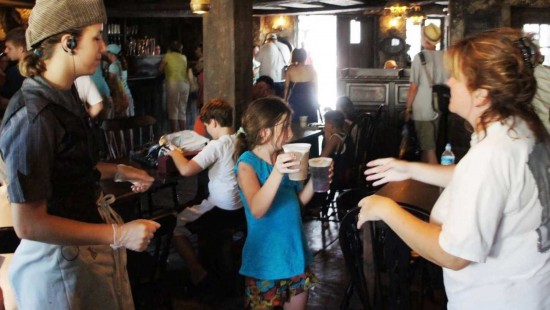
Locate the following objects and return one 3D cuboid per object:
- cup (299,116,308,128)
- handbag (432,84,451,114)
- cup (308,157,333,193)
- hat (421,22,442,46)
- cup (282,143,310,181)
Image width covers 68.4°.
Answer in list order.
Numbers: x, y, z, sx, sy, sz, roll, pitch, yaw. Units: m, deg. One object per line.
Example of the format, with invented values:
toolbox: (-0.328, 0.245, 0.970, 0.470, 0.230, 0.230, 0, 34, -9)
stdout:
cup: (0.416, -0.450, 5.632, 0.168, 0.156, 0.158, 1, 10, 0)
handbag: (2.285, -0.867, 5.668, 0.132, 0.466, 0.535, -5, 12, 10)
cup: (0.295, 0.133, 2.480, 0.164, 0.169, 0.134, -2, -2, 14)
hat: (2.192, -1.683, 5.736, 0.325, 0.272, 0.078, -8, 2, 4)
cup: (0.156, 0.042, 2.387, 0.228, 0.211, 0.208, 0, -5, 0)
